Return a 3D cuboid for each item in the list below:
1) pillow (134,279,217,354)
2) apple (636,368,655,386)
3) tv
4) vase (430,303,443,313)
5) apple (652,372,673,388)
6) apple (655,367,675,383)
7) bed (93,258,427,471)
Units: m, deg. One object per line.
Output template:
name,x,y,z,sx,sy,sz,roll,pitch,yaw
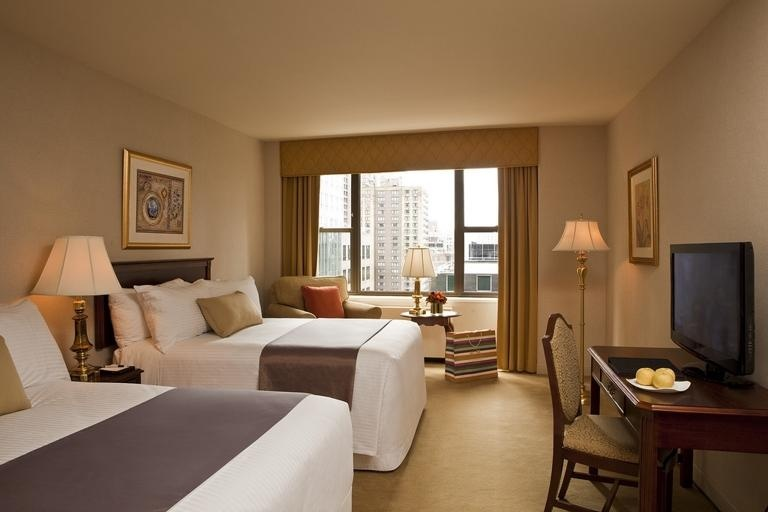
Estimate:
pillow,-1.900,0.473,4.809,0.203,0.518,0.715,-30,-7,24
apple,1.636,0.755,3.347,0.094,0.096,0.101,-4,3,-2
tv,2.204,0.401,3.536,0.198,0.836,0.925,0,-2,13
vase,0.639,0.624,6.452,0.106,0.146,0.150,-1,-2,27
apple,1.723,0.769,3.285,0.091,0.101,0.095,0,7,36
apple,1.767,0.735,3.329,0.087,0.098,0.093,-5,-4,35
bed,-0.943,0.856,4.963,1.927,1.349,2.093,-1,-4,5
